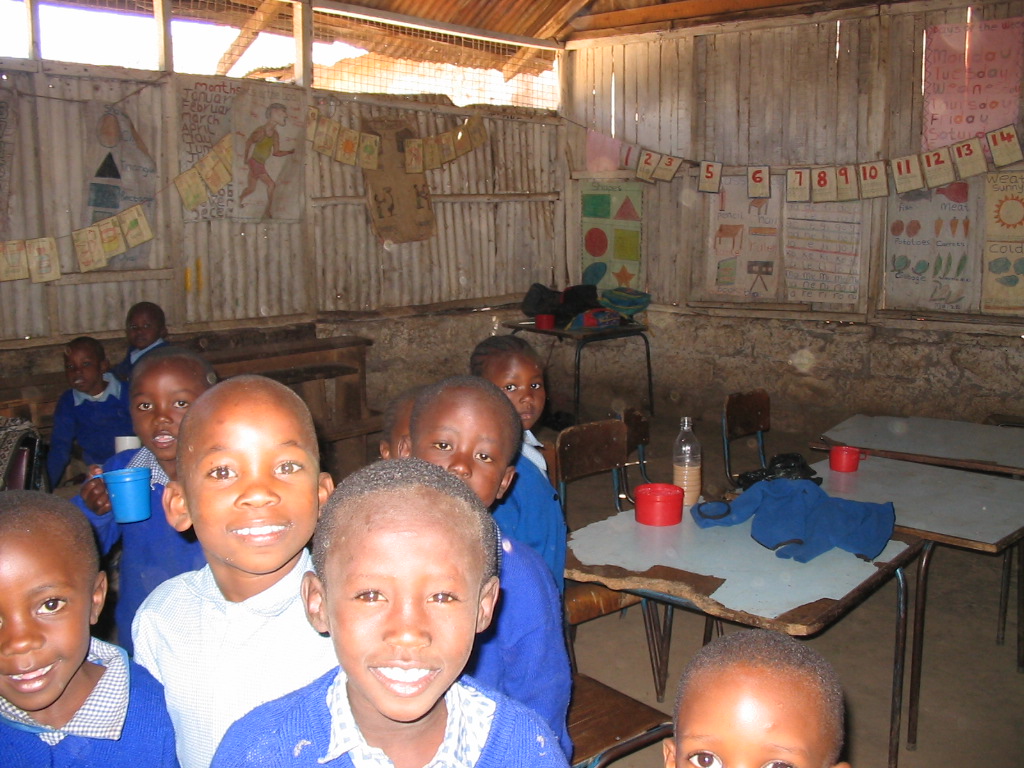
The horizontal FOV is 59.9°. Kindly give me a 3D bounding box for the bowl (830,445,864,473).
[{"bbox_3d":[1.642,0.350,4.353,0.133,0.116,0.131,-2,9,0],"label":"bowl"}]

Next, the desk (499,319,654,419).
[{"bbox_3d":[0.710,-0.078,8.620,1.096,1.019,1.117,-7,11,-35],"label":"desk"}]

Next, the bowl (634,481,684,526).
[{"bbox_3d":[0.612,0.494,3.746,0.177,0.108,0.173,0,4,0],"label":"bowl"}]

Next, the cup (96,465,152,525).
[{"bbox_3d":[-1.244,0.360,2.896,0.176,0.178,0.173,-2,2,0],"label":"cup"}]

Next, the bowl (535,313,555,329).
[{"bbox_3d":[0.300,-0.610,8.294,0.168,0.126,0.129,2,5,29],"label":"bowl"}]

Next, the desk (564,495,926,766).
[{"bbox_3d":[0.922,0.834,3.534,1.175,0.866,1.195,12,21,37],"label":"desk"}]
